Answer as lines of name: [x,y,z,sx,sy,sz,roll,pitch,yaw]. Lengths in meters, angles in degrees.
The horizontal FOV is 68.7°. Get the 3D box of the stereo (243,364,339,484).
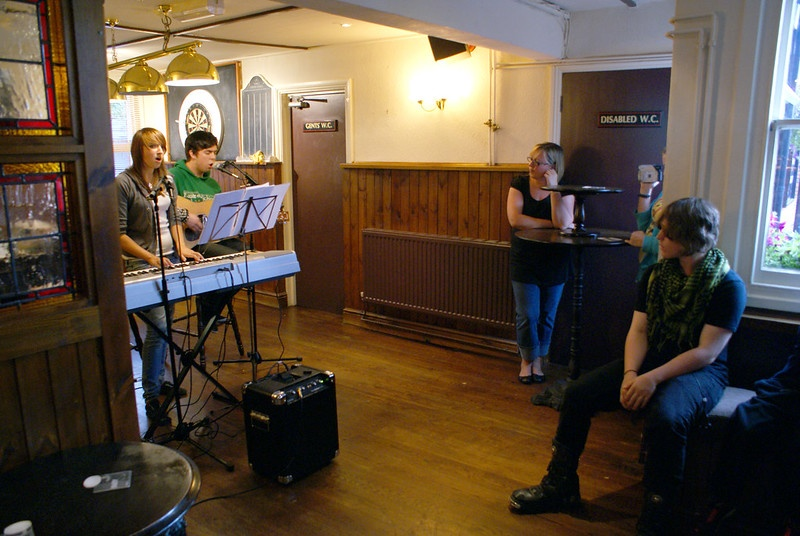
stereo: [-0.718,1.032,3.753,0.386,0.663,0.546,7,17,33]

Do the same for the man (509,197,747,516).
man: [1.392,0.528,3.285,1.213,1.807,0.856,1,4,-22]

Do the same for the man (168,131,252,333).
man: [-1.799,-0.189,5.282,0.814,1.958,0.280,-3,7,-8]

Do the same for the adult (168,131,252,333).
adult: [-1.805,-0.193,5.299,0.814,1.958,0.280,-3,7,-8]

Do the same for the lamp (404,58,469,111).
lamp: [0.366,-1.739,5.565,0.501,0.452,0.123,-3,12,35]

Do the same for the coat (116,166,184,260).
coat: [-1.860,-0.359,4.272,0.441,0.702,0.508,-9,16,-24]

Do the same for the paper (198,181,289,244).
paper: [-1.280,-0.448,4.669,0.115,0.608,1.027,47,31,18]

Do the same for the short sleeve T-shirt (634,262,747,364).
short sleeve T-shirt: [1.676,0.269,3.314,0.387,0.502,0.285,33,11,36]

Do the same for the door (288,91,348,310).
door: [-0.905,-0.665,6.747,0.844,2.463,0.043,8,19,19]

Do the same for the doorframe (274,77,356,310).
doorframe: [-0.960,-0.822,6.802,0.926,2.316,0.109,-8,13,-34]

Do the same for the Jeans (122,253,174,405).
Jeans: [-1.946,0.495,4.545,0.237,1.019,0.262,-2,9,6]

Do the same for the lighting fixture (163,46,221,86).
lighting fixture: [-1.857,-1.649,5.027,0.466,0.301,0.454,-4,5,-31]

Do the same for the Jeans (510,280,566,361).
Jeans: [1.165,0.365,4.902,0.392,0.739,0.273,-1,6,-7]

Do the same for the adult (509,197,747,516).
adult: [1.384,0.530,3.276,1.229,1.797,0.856,1,6,-20]
